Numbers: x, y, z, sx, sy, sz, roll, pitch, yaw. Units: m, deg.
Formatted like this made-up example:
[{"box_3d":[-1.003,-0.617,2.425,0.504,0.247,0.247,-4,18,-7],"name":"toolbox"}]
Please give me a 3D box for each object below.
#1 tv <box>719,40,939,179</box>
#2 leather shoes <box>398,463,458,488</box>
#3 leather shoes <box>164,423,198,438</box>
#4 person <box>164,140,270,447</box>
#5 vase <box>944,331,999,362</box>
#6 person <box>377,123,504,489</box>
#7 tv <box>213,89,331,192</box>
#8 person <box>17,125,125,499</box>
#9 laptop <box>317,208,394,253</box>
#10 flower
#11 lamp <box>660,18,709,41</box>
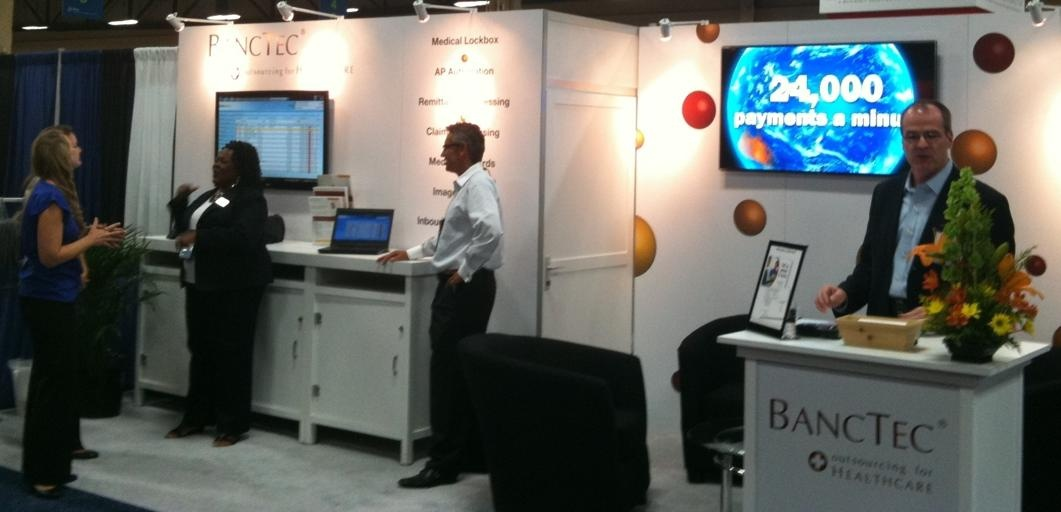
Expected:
[{"box_3d":[2.752,-1.331,6.808,1.611,0.878,0.065,2,2,21],"name":"tv"},{"box_3d":[-0.863,1.868,6.493,0.623,0.225,0.193,1,-3,-6],"name":"leather shoes"},{"box_3d":[-3.298,1.645,7.156,0.232,0.073,0.134,-3,26,13],"name":"leather shoes"},{"box_3d":[-2.886,0.328,7.099,0.846,2.794,0.476,5,6,12],"name":"person"},{"box_3d":[2.734,0.562,4.741,0.253,0.097,0.201,2,-3,-2],"name":"vase"},{"box_3d":[-0.625,0.411,6.555,0.690,3.110,0.504,4,6,-3],"name":"person"},{"box_3d":[-2.511,-1.130,7.504,1.198,0.850,0.157,3,4,18],"name":"tv"},{"box_3d":[-3.921,0.439,6.368,0.627,3.013,0.595,0,7,-32],"name":"person"},{"box_3d":[-1.614,-0.236,7.144,0.635,0.343,0.455,3,5,7],"name":"laptop"},{"box_3d":[2.807,0.050,4.778,0.722,1.187,0.359,6,6,20],"name":"flower"},{"box_3d":[1.452,-2.201,7.365,0.459,0.238,0.496,3,7,-2],"name":"lamp"}]
